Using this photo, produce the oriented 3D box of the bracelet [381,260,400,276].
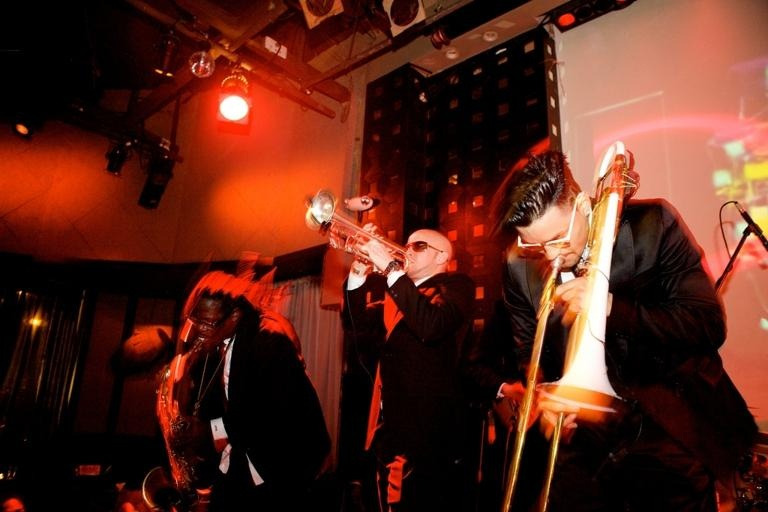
[{"bbox_3d":[0.071,0.114,4.406,0.149,0.105,0.036,-34,-21,-9],"label":"bracelet"}]
